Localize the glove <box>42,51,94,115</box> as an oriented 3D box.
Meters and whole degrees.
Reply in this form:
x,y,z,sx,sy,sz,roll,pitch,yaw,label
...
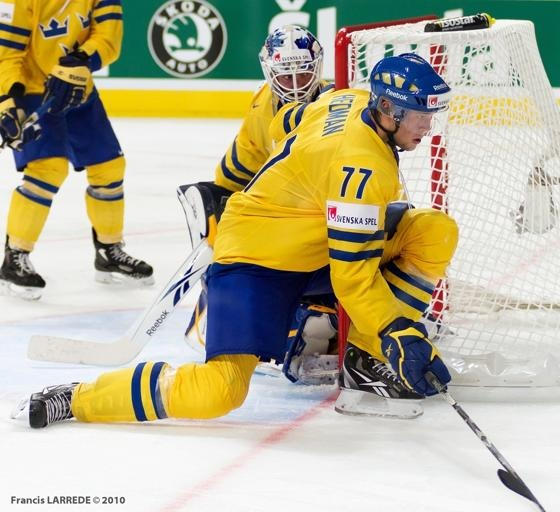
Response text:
x,y,z,sx,sy,sz,roll,pitch,yaw,label
-0.952,-0.766,3.115,0.225,0.294,0.096,25,19,-26,glove

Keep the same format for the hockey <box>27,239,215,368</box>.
x,y,z,sx,sy,sz,roll,pitch,yaw,label
-0.632,0.194,2.728,0.357,0.615,0.088,44,24,-47,hockey

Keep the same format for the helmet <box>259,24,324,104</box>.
x,y,z,sx,sy,sz,roll,pitch,yaw,label
0.069,-0.645,2.415,0.269,0.239,0.267,-4,49,5,helmet

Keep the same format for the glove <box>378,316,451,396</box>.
x,y,z,sx,sy,sz,roll,pitch,yaw,label
0.355,0.258,1.815,0.222,0.139,0.095,52,14,19,glove

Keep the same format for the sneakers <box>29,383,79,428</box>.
x,y,z,sx,sy,sz,roll,pitch,yaw,label
-0.620,0.411,1.951,0.155,0.074,0.059,-14,16,-39,sneakers

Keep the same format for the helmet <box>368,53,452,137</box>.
x,y,z,sx,sy,sz,roll,pitch,yaw,label
0.330,-0.439,1.812,0.146,0.188,0.189,-8,17,-40,helmet

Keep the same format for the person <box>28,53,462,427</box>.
x,y,z,sx,sy,sz,roll,pitch,yaw,label
-0.005,-0.039,1.945,1.022,1.034,0.503,5,14,10,person

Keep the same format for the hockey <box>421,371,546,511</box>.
x,y,z,sx,sy,sz,roll,pitch,yaw,label
0.481,0.444,1.650,0.027,0.109,0.406,28,14,-44,hockey
